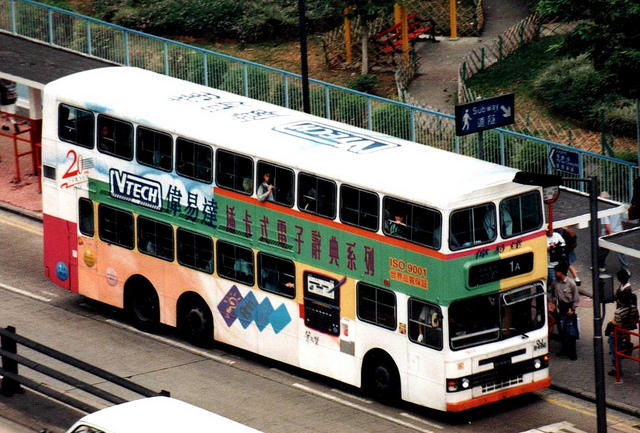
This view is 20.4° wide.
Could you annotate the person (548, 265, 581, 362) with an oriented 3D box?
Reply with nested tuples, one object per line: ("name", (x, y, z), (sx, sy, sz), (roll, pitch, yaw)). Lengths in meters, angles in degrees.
("person", (6.327, 2.491, 46.439), (0.958, 2.441, 0.892), (-8, 8, -36))

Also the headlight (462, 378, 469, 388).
("headlight", (3.569, 4.066, 43.694), (0.171, 0.207, 0.058), (0, 3, -14))

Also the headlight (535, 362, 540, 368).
("headlight", (5.443, 3.695, 44.560), (0.136, 0.149, 0.031), (-7, 21, -24))
